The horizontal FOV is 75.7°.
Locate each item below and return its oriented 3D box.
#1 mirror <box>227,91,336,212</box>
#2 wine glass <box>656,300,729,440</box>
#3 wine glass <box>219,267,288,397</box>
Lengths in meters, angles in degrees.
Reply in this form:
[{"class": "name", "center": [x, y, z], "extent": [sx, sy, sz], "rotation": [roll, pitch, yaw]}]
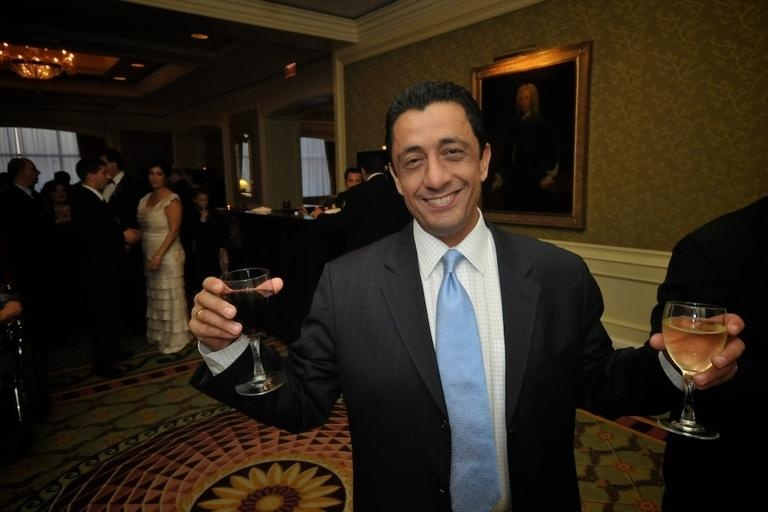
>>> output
[{"class": "mirror", "center": [-1.919, -2.205, 11.287], "extent": [1.299, 1.939, 1.285], "rotation": [-4, 12, -25]}, {"class": "wine glass", "center": [1.345, 0.509, 2.183], "extent": [0.260, 0.595, 0.159], "rotation": [1, 9, 6]}, {"class": "wine glass", "center": [-0.584, 0.335, 2.224], "extent": [0.228, 0.553, 0.249], "rotation": [-4, 10, -22]}]
